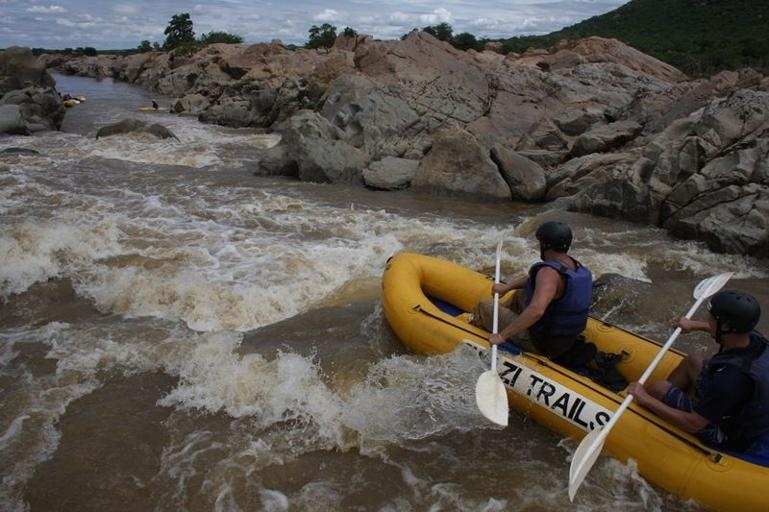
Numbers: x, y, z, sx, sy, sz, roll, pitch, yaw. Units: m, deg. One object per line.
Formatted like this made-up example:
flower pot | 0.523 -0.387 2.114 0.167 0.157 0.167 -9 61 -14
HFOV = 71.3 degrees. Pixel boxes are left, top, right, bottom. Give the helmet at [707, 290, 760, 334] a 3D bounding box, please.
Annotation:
helmet | 3.807 0.602 5.868 0.464 0.374 0.357 10 39 8

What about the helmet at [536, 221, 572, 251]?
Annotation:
helmet | 2.096 -0.244 6.625 0.350 0.240 0.422 3 26 5
